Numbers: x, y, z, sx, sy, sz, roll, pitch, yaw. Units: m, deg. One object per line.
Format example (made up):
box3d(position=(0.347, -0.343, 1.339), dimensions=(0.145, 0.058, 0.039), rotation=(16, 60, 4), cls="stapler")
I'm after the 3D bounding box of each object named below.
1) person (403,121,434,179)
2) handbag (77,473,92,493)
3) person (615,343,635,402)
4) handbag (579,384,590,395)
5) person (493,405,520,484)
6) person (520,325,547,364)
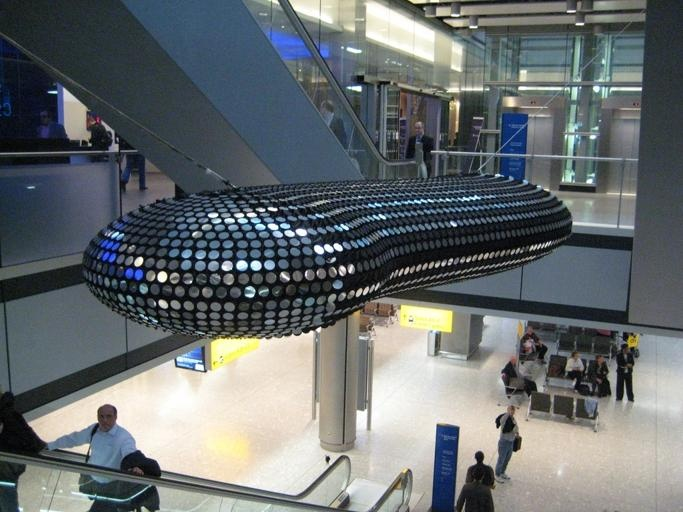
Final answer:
box3d(position=(1.312, -1.801, 8.587), dimensions=(0.449, 0.873, 0.940), rotation=(2, 10, 10), cls="person")
box3d(position=(-1.759, 1.566, 3.514), dimensions=(0.090, 0.178, 0.060), rotation=(-2, 10, -16), cls="handbag")
box3d(position=(7.175, 2.952, 12.896), dimensions=(0.450, 1.385, 0.782), rotation=(6, 11, 29), cls="person")
box3d(position=(6.147, 3.372, 12.904), dimensions=(0.262, 0.246, 0.211), rotation=(-7, 13, -35), cls="handbag")
box3d(position=(3.109, 3.376, 9.544), dimensions=(0.429, 1.435, 0.686), rotation=(4, 10, 19), cls="person")
box3d(position=(5.594, 2.544, 14.668), dimensions=(0.438, 1.100, 0.549), rotation=(-21, 6, -32), cls="person")
